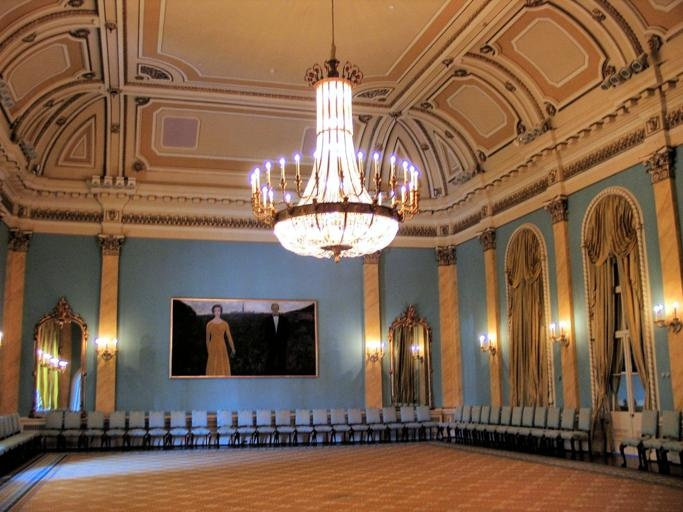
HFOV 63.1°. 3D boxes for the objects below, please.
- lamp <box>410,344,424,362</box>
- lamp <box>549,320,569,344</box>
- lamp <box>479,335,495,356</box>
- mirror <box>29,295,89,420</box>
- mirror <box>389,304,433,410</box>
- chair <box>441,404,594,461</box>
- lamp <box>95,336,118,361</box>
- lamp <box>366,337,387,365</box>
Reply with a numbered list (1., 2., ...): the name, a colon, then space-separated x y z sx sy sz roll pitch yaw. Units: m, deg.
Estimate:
1. lamp: 2.063 2.694 15.353 0.302 0.536 0.228 -5 -19 13
2. lamp: 4.608 1.617 11.786 0.131 0.543 0.563 2 -14 -14
3. lamp: 3.669 2.242 14.023 0.241 0.581 0.679 0 -14 -7
4. mirror: -6.855 2.440 13.602 1.240 2.806 0.237 0 -12 -6
5. mirror: 1.921 2.801 15.327 1.233 3.238 0.134 0 18 12
6. chair: 3.900 3.763 12.152 1.030 0.958 3.855 5 -16 -27
7. lamp: -5.800 2.289 13.734 0.445 0.727 0.202 4 -19 -23
8. lamp: 0.857 2.638 15.307 0.760 0.944 0.463 3 -15 -11
